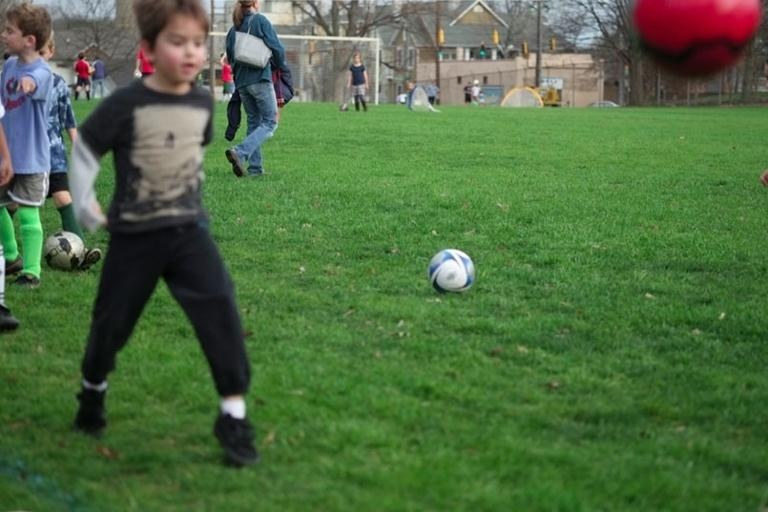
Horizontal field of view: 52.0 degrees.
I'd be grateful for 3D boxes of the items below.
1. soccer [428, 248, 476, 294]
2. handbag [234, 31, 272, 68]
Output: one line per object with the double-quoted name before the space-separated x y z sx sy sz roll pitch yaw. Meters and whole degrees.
"soccer" 0.634 0.164 7.378 0.474 0.477 0.466 -2 5 -23
"handbag" -1.665 -2.587 9.911 0.386 0.396 0.163 10 -26 -19
